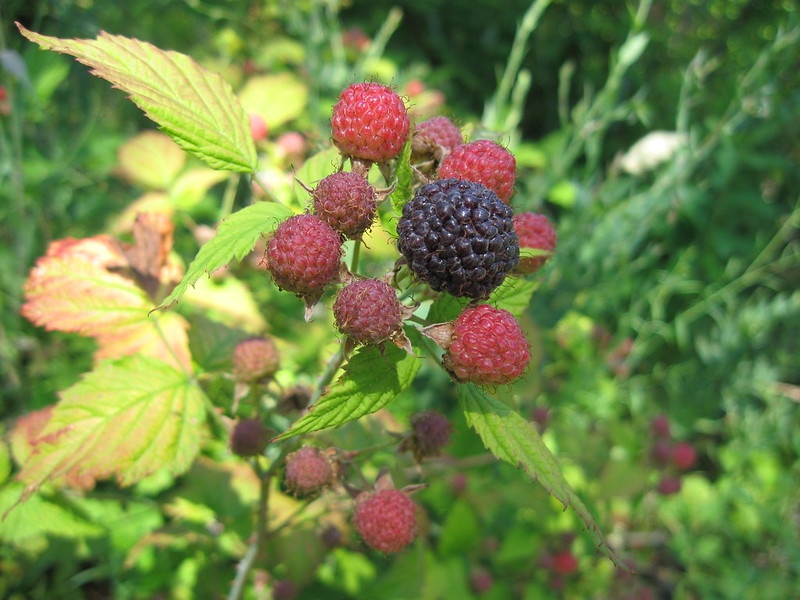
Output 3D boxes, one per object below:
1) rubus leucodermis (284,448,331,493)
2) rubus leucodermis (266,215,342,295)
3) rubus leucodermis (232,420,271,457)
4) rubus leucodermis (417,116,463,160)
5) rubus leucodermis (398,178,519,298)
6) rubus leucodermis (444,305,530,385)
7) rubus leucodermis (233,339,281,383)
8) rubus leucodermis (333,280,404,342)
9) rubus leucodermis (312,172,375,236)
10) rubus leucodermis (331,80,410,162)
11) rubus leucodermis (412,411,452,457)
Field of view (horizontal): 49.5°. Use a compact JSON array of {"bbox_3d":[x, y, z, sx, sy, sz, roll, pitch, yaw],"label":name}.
[{"bbox_3d":[-0.338,0.645,3.263,0.181,0.073,0.175,0,75,-3],"label":"rubus leucodermis"},{"bbox_3d":[-0.339,-0.162,3.140,0.272,0.133,0.276,23,76,4],"label":"rubus leucodermis"},{"bbox_3d":[-0.577,0.537,3.359,0.149,0.089,0.145,-1,75,-3],"label":"rubus leucodermis"},{"bbox_3d":[0.158,-0.622,3.326,0.157,0.155,0.181,-2,81,11],"label":"rubus leucodermis"},{"bbox_3d":[0.210,-0.227,3.166,0.443,0.151,0.406,38,77,7],"label":"rubus leucodermis"},{"bbox_3d":[0.307,0.165,3.242,0.336,0.314,0.308,2,116,1],"label":"rubus leucodermis"},{"bbox_3d":[-0.557,0.230,3.400,0.174,0.095,0.192,-3,76,-3],"label":"rubus leucodermis"},{"bbox_3d":[-0.109,0.046,3.091,0.206,0.217,0.211,3,84,-27],"label":"rubus leucodermis"},{"bbox_3d":[-0.189,-0.338,3.154,0.209,0.195,0.229,-5,90,31],"label":"rubus leucodermis"},{"bbox_3d":[-0.105,-0.639,3.300,0.302,0.345,0.362,-1,86,-3],"label":"rubus leucodermis"},{"bbox_3d":[0.120,0.508,3.414,0.157,0.144,0.168,14,92,-18],"label":"rubus leucodermis"}]
